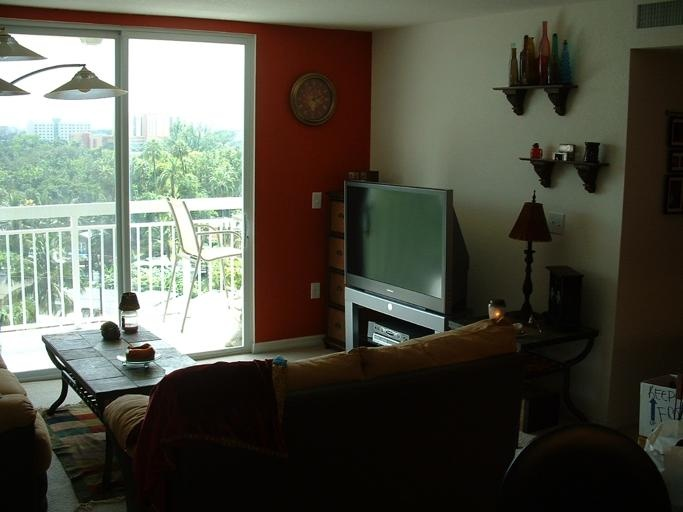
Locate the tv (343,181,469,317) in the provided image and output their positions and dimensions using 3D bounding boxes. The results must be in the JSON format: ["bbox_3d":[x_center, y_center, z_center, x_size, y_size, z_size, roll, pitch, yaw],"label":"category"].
[{"bbox_3d":[0.549,-0.068,4.459,0.383,0.864,1.091,-3,6,-38],"label":"tv"}]

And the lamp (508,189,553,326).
[{"bbox_3d":[1.367,-0.001,4.007,0.273,0.905,0.440,2,9,21],"label":"lamp"}]

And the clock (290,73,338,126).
[{"bbox_3d":[-0.270,-1.467,5.255,0.447,0.468,0.096,-6,12,-26],"label":"clock"}]

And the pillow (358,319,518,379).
[{"bbox_3d":[0.522,0.475,2.845,0.409,0.125,0.414,-11,-1,-15],"label":"pillow"}]

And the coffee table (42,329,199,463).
[{"bbox_3d":[-1.474,0.711,3.665,0.531,0.492,1.051,-1,8,-29],"label":"coffee table"}]

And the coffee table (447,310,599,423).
[{"bbox_3d":[1.274,0.630,4.035,0.706,0.879,0.893,-9,14,-30],"label":"coffee table"}]
